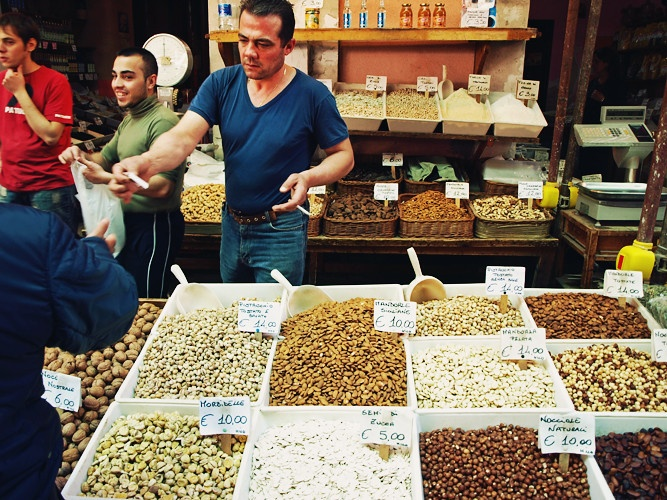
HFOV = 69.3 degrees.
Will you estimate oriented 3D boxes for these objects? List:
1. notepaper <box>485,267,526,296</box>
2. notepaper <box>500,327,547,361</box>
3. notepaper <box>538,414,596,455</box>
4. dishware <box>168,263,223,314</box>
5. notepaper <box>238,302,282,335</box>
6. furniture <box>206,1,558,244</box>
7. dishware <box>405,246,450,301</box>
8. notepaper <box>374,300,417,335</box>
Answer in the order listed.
[{"bbox_3d":[0.950,0.178,2.684,0.162,0.126,0.023,0,2,-10],"label":"notepaper"},{"bbox_3d":[0.925,0.465,2.360,0.159,0.119,0.018,0,4,1],"label":"notepaper"},{"bbox_3d":[0.967,0.764,1.999,0.168,0.125,0.009,1,0,2],"label":"notepaper"},{"bbox_3d":[-0.783,0.242,2.661,0.138,0.080,0.453,-28,42,-11],"label":"dishware"},{"bbox_3d":[-0.373,0.340,2.397,0.153,0.119,0.021,3,-1,-4],"label":"notepaper"},{"bbox_3d":[0.434,-0.979,3.741,2.240,1.514,0.765,0,4,5],"label":"furniture"},{"bbox_3d":[0.503,0.165,2.884,0.197,0.336,0.105,-20,5,-8],"label":"dishware"},{"bbox_3d":[0.301,0.342,2.416,0.167,0.124,0.023,2,-2,-8],"label":"notepaper"}]
